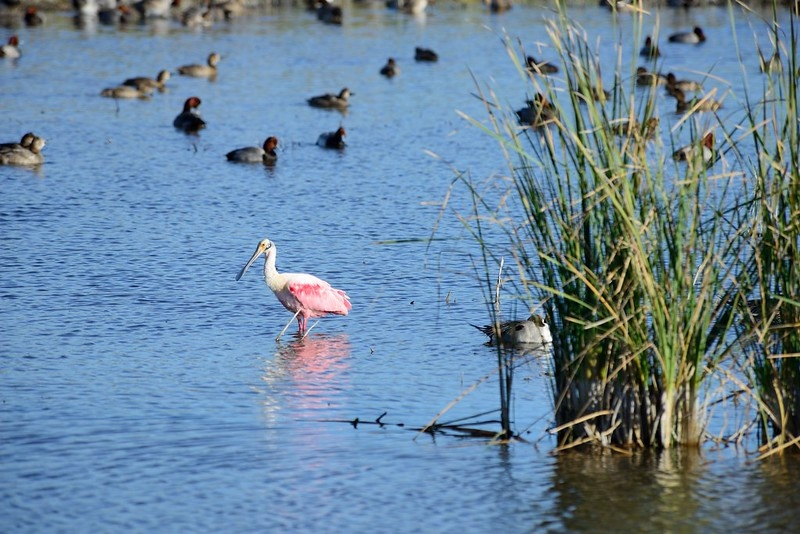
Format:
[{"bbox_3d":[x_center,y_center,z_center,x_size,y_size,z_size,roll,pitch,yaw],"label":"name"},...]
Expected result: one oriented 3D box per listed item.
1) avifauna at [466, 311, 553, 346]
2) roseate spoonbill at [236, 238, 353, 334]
[{"bbox_3d":[1.377,0.799,13.025,1.150,0.539,0.444,9,12,3],"label":"avifauna"},{"bbox_3d":[-1.447,0.284,13.692,1.668,1.272,0.573,-1,4,-29],"label":"roseate spoonbill"}]
